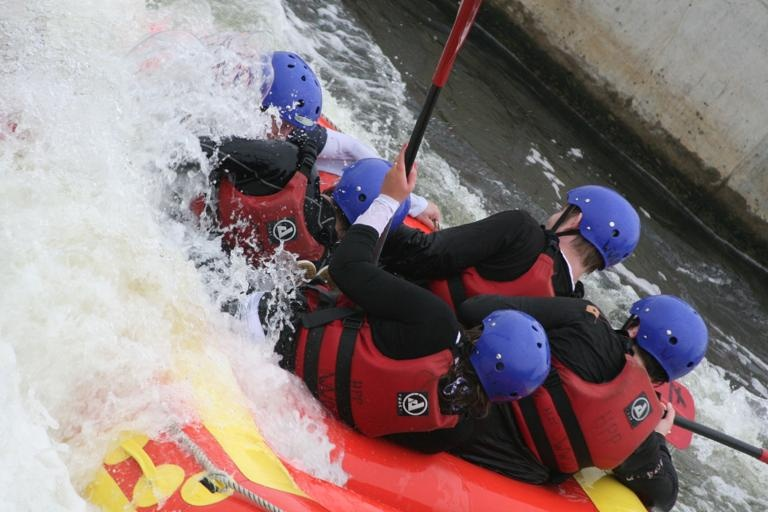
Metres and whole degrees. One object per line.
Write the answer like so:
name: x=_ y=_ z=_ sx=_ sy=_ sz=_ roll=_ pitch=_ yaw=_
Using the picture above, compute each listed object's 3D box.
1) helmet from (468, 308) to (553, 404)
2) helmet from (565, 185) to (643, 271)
helmet: x=0.679 y=0.587 z=5.600 sx=0.385 sy=0.414 sz=0.525 roll=50 pitch=47 yaw=-35
helmet: x=1.306 y=-0.192 z=6.317 sx=0.419 sy=0.430 sz=0.539 roll=27 pitch=50 yaw=-45
